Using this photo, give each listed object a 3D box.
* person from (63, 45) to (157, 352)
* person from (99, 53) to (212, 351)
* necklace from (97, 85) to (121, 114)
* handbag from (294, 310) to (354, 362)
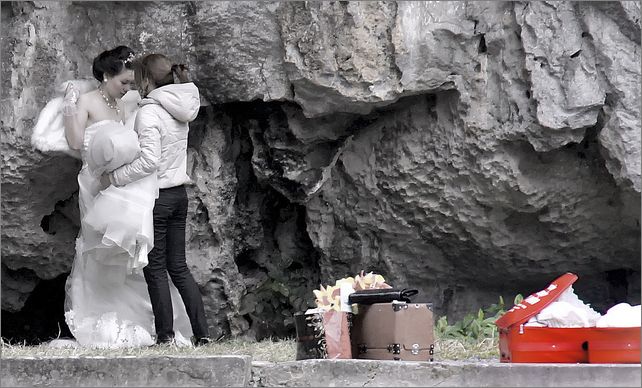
[{"bbox_3d":[-1.965,0.020,10.040,0.967,2.932,1.172,2,0,-23],"label":"person"},{"bbox_3d":[-1.527,0.052,9.748,0.926,2.799,0.524,1,-6,-24],"label":"person"},{"bbox_3d":[-2.087,-0.918,9.972,0.052,0.246,0.154,-39,-2,31],"label":"necklace"},{"bbox_3d":[0.003,1.227,8.887,0.481,0.425,0.152,-1,-5,-4],"label":"handbag"}]
